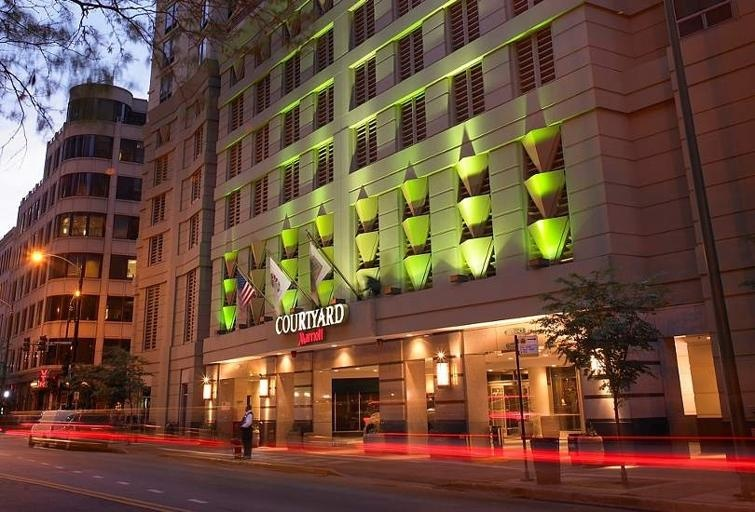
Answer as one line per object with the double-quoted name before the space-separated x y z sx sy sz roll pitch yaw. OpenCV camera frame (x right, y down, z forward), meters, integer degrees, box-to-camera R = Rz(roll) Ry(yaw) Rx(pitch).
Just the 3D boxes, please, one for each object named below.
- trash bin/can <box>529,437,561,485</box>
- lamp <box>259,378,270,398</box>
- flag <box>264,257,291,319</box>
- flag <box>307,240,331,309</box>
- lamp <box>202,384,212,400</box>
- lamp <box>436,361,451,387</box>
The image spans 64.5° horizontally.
"trash bin/can" 5.245 6.271 18.410 0.800 1.393 0.759 -7 -20 14
"lamp" -7.427 8.693 39.703 0.330 1.224 1.341 10 -22 -31
"flag" -6.051 1.415 37.199 1.317 4.380 5.075 2 -19 -12
"flag" -3.212 0.953 34.349 1.165 3.122 2.999 0 -19 -6
"lamp" -12.697 10.179 45.055 0.654 1.152 0.316 -14 -22 32
"lamp" 3.245 5.702 29.102 0.304 1.152 0.758 15 -25 -41
